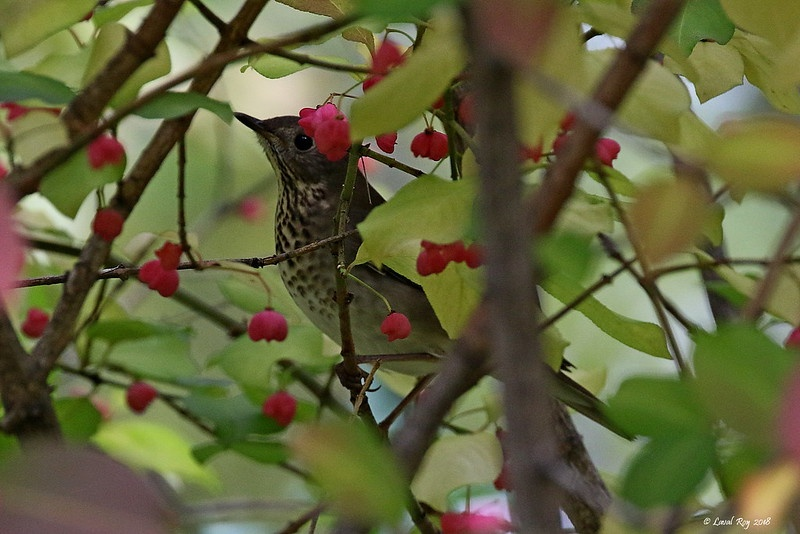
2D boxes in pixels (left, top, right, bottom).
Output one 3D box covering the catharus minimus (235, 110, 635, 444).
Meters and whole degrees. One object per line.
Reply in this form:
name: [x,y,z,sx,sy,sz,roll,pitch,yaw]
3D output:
catharus minimus: [0.055,0.042,1.459,0.771,0.446,0.237,39,-79,16]
